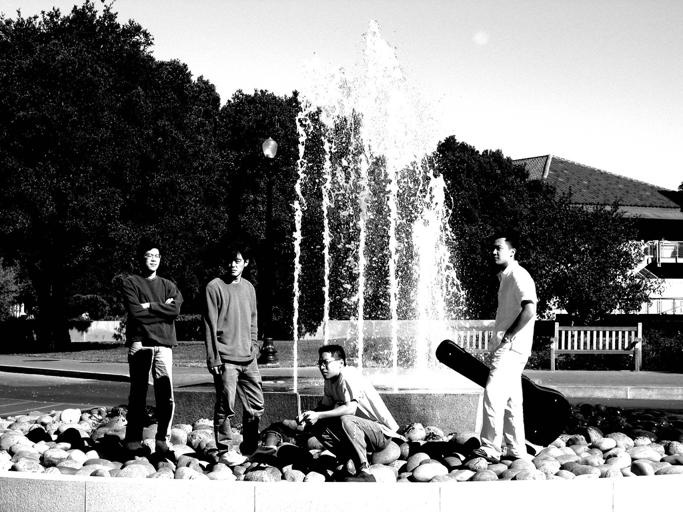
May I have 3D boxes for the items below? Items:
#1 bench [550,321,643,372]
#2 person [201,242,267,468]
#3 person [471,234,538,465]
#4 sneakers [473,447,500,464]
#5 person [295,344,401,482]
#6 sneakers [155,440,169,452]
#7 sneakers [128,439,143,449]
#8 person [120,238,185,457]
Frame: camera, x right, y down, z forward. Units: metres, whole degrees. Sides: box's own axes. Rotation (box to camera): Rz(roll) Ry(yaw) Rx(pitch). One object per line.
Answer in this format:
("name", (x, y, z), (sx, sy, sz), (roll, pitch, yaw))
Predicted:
("bench", (6.525, 2.279, 23.798), (2.104, 1.277, 0.828), (0, 8, 6))
("person", (-1.336, 1.156, 11.380), (0.748, 2.531, 0.565), (0, -2, -16))
("person", (1.902, 1.047, 10.697), (0.643, 2.546, 0.465), (0, -2, -2))
("sneakers", (1.672, 2.254, 10.449), (0.339, 0.157, 0.295), (0, -3, -5))
("person", (0.082, 1.720, 10.564), (1.081, 1.368, 0.976), (0, -2, 3))
("sneakers", (-2.153, 2.288, 11.079), (0.124, 0.149, 0.133), (-2, 2, -22))
("sneakers", (-2.492, 2.288, 11.143), (0.215, 0.080, 0.224), (1, -3, -27))
("person", (-2.374, 1.120, 11.503), (0.720, 2.514, 0.869), (0, -2, -11))
